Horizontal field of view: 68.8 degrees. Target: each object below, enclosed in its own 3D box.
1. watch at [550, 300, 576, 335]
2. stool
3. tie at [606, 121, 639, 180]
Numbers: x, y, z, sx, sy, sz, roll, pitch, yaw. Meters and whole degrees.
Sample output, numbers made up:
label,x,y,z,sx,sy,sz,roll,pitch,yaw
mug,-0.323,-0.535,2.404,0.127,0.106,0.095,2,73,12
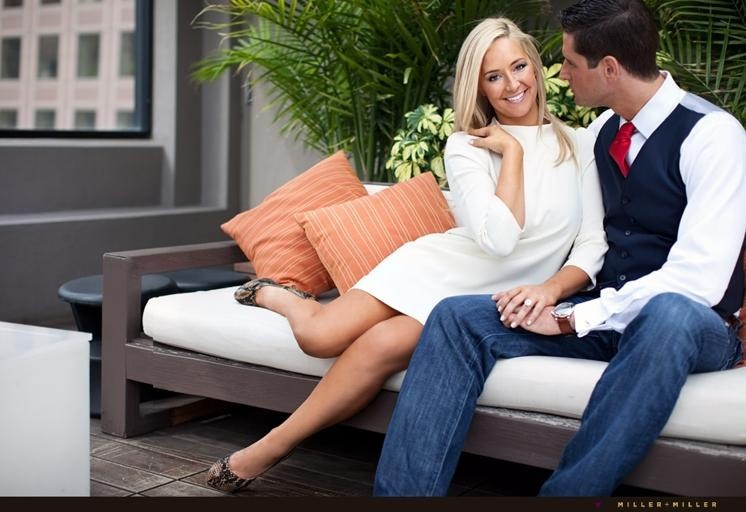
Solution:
label,x,y,z,sx,sy,sz,roll,pitch,yaw
watch,0.544,0.174,1.597,0.073,0.081,0.086,-13,20,17
stool,-1.037,0.343,2.630,0.656,0.510,0.764,10,28,21
tie,0.777,-0.339,1.692,0.071,0.159,0.062,12,22,41
